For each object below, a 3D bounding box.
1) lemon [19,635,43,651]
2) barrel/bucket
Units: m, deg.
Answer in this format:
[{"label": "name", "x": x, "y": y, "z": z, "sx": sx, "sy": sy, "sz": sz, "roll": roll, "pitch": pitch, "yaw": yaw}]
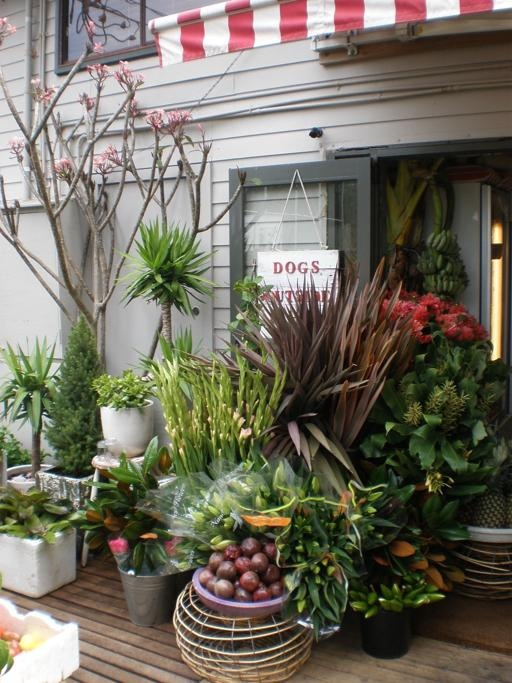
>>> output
[{"label": "lemon", "x": -0.614, "y": 0.812, "z": 1.568, "sx": 0.034, "sy": 0.023, "sz": 0.042, "roll": 4, "pitch": -1, "yaw": 10}, {"label": "barrel/bucket", "x": -0.387, "y": 0.946, "z": 2.235, "sx": 0.246, "sy": 0.193, "sz": 0.260, "roll": 2, "pitch": -8, "yaw": 0}]
